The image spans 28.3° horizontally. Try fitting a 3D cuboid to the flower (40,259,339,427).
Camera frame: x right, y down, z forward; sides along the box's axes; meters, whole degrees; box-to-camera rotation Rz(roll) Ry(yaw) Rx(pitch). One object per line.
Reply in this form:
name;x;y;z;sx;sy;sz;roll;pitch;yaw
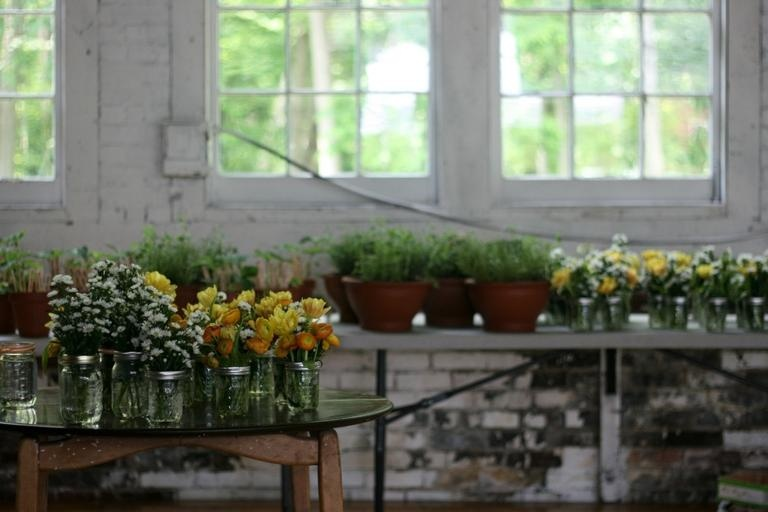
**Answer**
flower;-1.044;0.431;8.054;1.165;0.552;0.957;1;-1;-13
